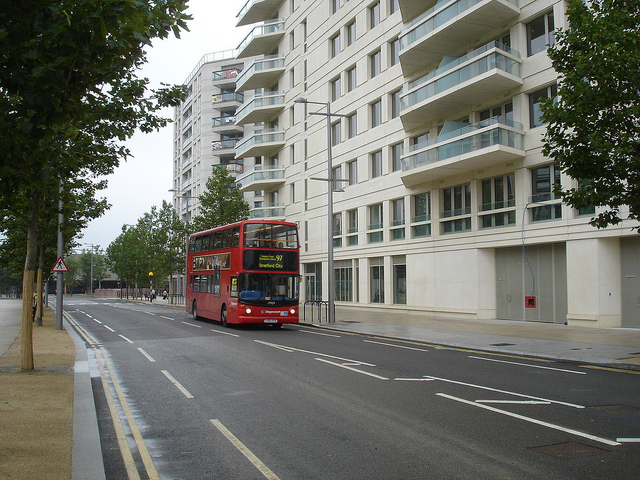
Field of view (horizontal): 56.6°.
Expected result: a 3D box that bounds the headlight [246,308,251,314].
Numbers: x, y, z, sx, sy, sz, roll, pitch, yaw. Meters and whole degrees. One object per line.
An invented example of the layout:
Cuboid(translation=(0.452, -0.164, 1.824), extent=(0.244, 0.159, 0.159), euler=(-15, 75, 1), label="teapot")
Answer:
Cuboid(translation=(-2.921, 2.873, 24.353), extent=(0.190, 0.210, 0.046), euler=(2, -2, -21), label="headlight")

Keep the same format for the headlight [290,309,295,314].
Cuboid(translation=(-1.182, 2.988, 25.059), extent=(0.192, 0.211, 0.046), euler=(2, -1, -27), label="headlight")

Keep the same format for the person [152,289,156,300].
Cuboid(translation=(-21.177, 6.986, 76.738), extent=(0.440, 0.368, 1.447), euler=(-12, -28, -15), label="person")

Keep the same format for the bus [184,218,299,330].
Cuboid(translation=(-3.739, 1.924, 29.555), extent=(3.940, 5.110, 11.626), euler=(4, -10, -25), label="bus")
